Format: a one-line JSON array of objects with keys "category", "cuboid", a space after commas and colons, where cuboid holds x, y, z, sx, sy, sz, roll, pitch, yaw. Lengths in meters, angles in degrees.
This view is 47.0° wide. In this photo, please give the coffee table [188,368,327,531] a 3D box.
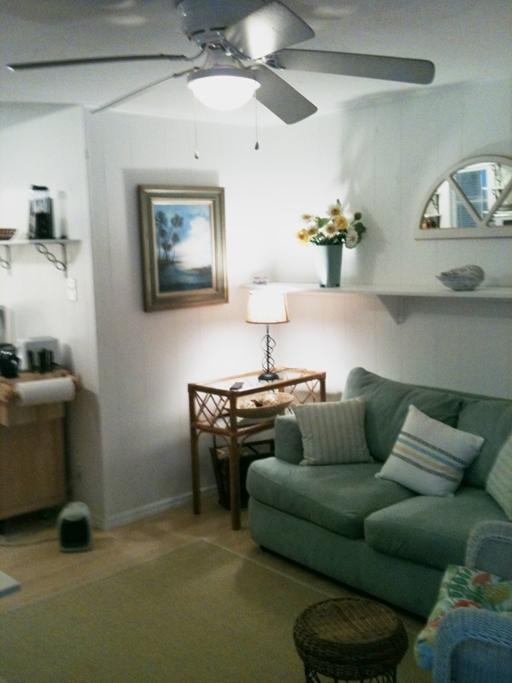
[{"category": "coffee table", "cuboid": [-0.010, 0.599, 3.246, 0.378, 0.680, 0.844, 6, 11, 38]}]

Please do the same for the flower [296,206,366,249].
[{"category": "flower", "cuboid": [0.426, -0.699, 3.507, 0.400, 0.291, 0.361, 2, 7, 42]}]

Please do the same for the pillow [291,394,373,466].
[{"category": "pillow", "cuboid": [0.388, 0.459, 2.964, 0.342, 0.299, 0.115, -4, -28, -2]}]

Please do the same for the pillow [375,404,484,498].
[{"category": "pillow", "cuboid": [0.752, 0.492, 2.600, 0.231, 0.349, 0.420, -7, 6, -33]}]

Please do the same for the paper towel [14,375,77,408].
[{"category": "paper towel", "cuboid": [-1.162, 0.271, 3.273, 0.304, 0.129, 0.154, -4, 5, -16]}]

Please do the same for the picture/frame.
[{"category": "picture/frame", "cuboid": [-0.459, -0.573, 3.523, 0.066, 0.826, 0.779, 9, 14, 43]}]
